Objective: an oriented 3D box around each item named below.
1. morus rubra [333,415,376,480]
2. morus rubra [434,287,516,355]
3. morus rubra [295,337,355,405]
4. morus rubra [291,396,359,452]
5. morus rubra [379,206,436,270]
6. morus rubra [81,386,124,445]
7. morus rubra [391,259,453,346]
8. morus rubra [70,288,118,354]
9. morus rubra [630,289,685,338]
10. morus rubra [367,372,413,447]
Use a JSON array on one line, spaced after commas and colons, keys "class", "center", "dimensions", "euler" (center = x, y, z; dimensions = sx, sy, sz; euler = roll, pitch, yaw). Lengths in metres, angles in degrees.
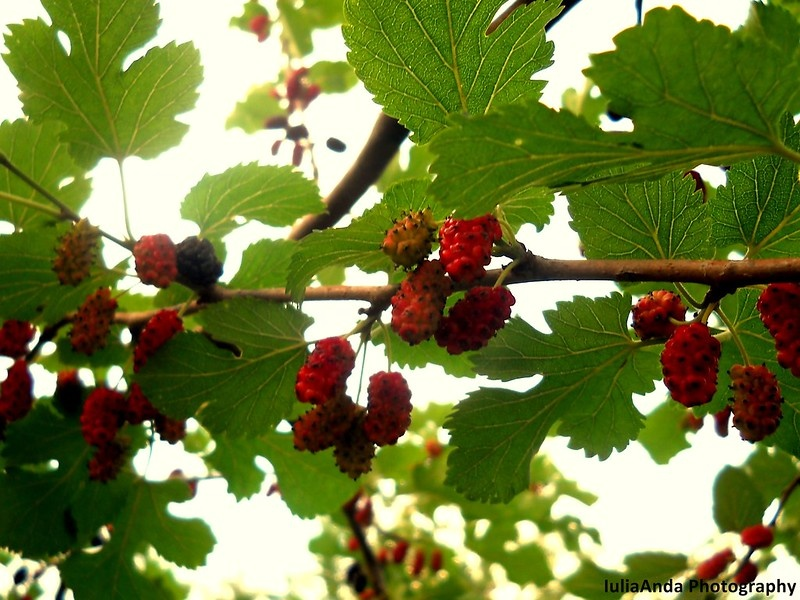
[{"class": "morus rubra", "center": [-0.121, 0.415, 2.644], "dimensions": [0.125, 0.134, 0.259], "euler": [-3, -63, -6]}, {"class": "morus rubra", "center": [0.213, 0.058, 2.507], "dimensions": [0.150, 0.245, 0.110], "euler": [53, -23, -2]}, {"class": "morus rubra", "center": [-0.213, 0.205, 2.663], "dimensions": [0.147, 0.250, 0.133], "euler": [8, -52, 7]}, {"class": "morus rubra", "center": [-0.211, 0.388, 2.656], "dimensions": [0.145, 0.255, 0.111], "euler": [20, -59, 64]}, {"class": "morus rubra", "center": [0.034, -0.178, 2.469], "dimensions": [0.133, 0.179, 0.092], "euler": [17, -30, 25]}, {"class": "morus rubra", "center": [-1.007, 0.384, 2.982], "dimensions": [0.147, 0.192, 0.101], "euler": [26, -11, -39]}, {"class": "morus rubra", "center": [0.094, 0.012, 2.505], "dimensions": [0.148, 0.248, 0.112], "euler": [19, -20, 33]}, {"class": "morus rubra", "center": [-1.029, 0.072, 2.969], "dimensions": [0.141, 0.229, 0.100], "euler": [23, -17, -2]}, {"class": "morus rubra", "center": [0.755, 0.043, 2.527], "dimensions": [0.153, 0.132, 0.094], "euler": [-21, -49, 19]}, {"class": "morus rubra", "center": [-0.038, 0.343, 2.630], "dimensions": [0.140, 0.191, 0.246], "euler": [2, -45, -3]}]
